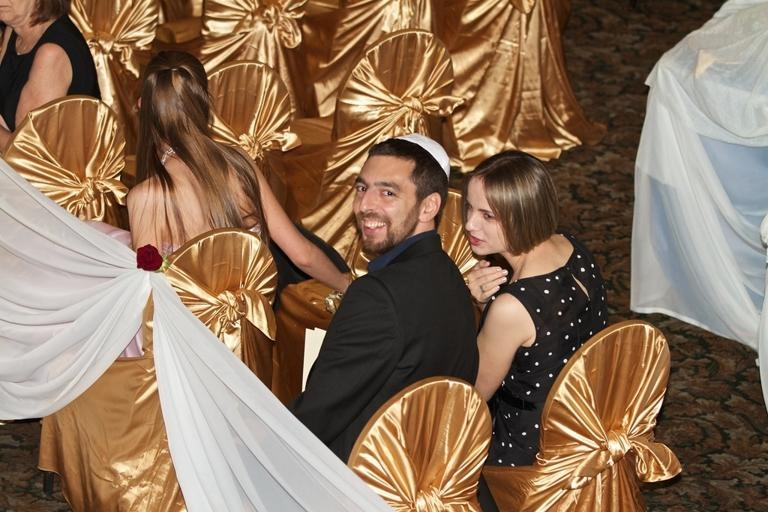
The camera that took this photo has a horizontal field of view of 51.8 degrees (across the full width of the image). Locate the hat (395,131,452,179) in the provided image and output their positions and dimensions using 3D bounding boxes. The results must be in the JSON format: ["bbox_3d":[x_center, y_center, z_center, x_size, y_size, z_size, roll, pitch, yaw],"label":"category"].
[{"bbox_3d":[0.162,-0.408,2.956,0.177,0.070,0.183,38,-8,28],"label":"hat"}]

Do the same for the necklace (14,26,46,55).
[{"bbox_3d":[-1.628,-0.993,3.633,0.067,0.115,0.084,39,12,35],"label":"necklace"}]

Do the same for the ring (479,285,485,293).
[{"bbox_3d":[0.395,0.135,3.191,0.011,0.016,0.017,9,50,17],"label":"ring"}]

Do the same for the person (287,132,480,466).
[{"bbox_3d":[-0.011,0.117,2.793,0.685,0.889,0.673,-3,27,-18],"label":"person"}]

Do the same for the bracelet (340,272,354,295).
[{"bbox_3d":[-0.159,0.119,3.460,0.067,0.090,0.089,8,11,38],"label":"bracelet"}]

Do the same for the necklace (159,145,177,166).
[{"bbox_3d":[-0.834,-0.380,3.072,0.060,0.081,0.029,32,9,26],"label":"necklace"}]
